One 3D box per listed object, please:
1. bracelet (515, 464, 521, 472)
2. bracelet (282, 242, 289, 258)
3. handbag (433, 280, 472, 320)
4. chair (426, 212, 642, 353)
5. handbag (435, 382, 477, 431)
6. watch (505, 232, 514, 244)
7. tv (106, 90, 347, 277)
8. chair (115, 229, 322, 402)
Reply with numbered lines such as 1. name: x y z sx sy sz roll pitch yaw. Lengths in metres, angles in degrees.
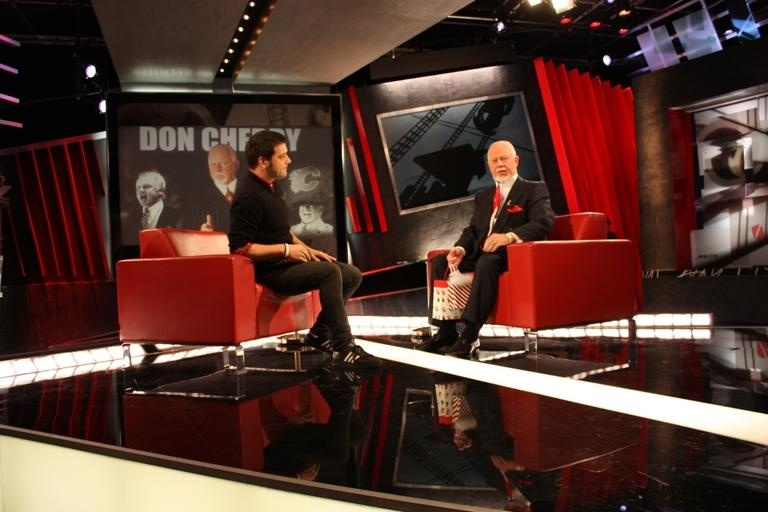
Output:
1. bracelet: 0.702 1.098 3.007 0.044 0.009 0.037 -1 12 7
2. bracelet: -0.723 -0.035 4.296 0.069 0.065 0.084 0 10 -4
3. handbag: 0.563 0.352 4.625 0.363 0.275 0.120 -1 -1 -8
4. chair: 1.230 0.186 4.777 1.135 1.009 1.498 1 -5 -30
5. handbag: 0.446 0.936 3.577 0.170 0.249 0.146 9 -35 -36
6. watch: 0.986 -0.138 4.505 0.077 0.073 0.019 27 -28 -14
7. tv: -1.597 -0.725 5.520 2.286 1.672 0.095 -1 -1 -10
8. chair: -1.317 0.374 4.687 1.317 1.063 1.372 -2 -1 20
